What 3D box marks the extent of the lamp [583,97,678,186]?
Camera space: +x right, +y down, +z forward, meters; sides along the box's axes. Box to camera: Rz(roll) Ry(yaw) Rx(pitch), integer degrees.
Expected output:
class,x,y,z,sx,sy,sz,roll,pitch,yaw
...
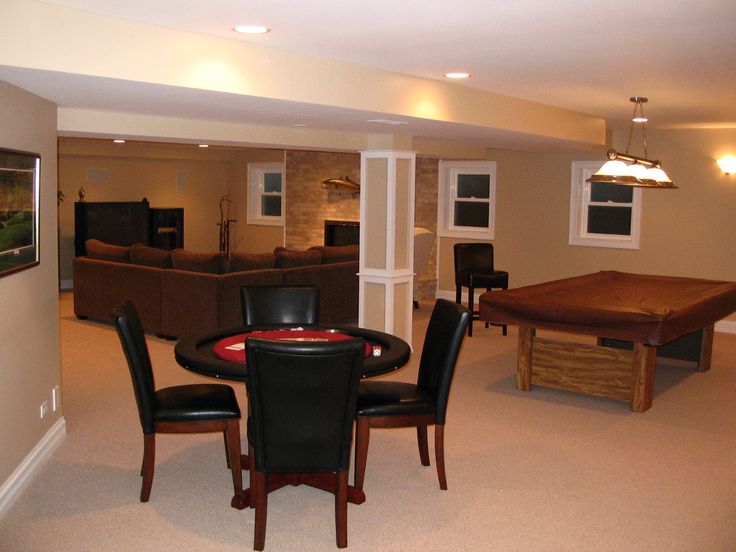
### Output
class,x,y,z,sx,sy,sz,roll,pitch,yaw
lamp,2.481,-1.233,5.261,0.378,0.728,0.913,-15,22,-16

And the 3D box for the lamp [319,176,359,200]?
class,x,y,z,sx,sy,sz,roll,pitch,yaw
lamp,-0.516,-1.551,9.933,0.805,0.371,0.437,4,11,14

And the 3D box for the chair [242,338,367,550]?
class,x,y,z,sx,sy,sz,roll,pitch,yaw
chair,-0.376,0.853,3.177,0.581,1.189,0.563,-1,12,-12

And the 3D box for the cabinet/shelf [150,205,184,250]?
class,x,y,z,sx,sy,sz,roll,pitch,yaw
cabinet/shelf,-4.081,-0.939,11.539,0.495,0.726,0.237,0,0,-24

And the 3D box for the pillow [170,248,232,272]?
class,x,y,z,sx,sy,sz,roll,pitch,yaw
pillow,-2.134,-0.199,7.186,0.704,0.226,0.647,2,9,3

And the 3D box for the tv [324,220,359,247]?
class,x,y,z,sx,sy,sz,roll,pitch,yaw
tv,-0.445,-0.749,10.007,0.722,0.590,0.229,2,2,35

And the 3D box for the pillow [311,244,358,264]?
class,x,y,z,sx,sy,sz,roll,pitch,yaw
pillow,-0.447,-0.287,7.677,0.430,0.138,0.403,-2,6,-20

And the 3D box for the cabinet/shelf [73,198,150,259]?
class,x,y,z,sx,sy,sz,roll,pitch,yaw
cabinet/shelf,-4.441,-0.811,9.752,1.472,1.114,0.471,0,2,-42

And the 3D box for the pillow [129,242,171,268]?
class,x,y,z,sx,sy,sz,roll,pitch,yaw
pillow,-2.753,-0.254,7.183,0.370,0.114,0.414,15,-3,-37

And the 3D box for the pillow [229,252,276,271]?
class,x,y,z,sx,sy,sz,roll,pitch,yaw
pillow,-1.378,-0.180,6.816,0.587,0.208,0.164,-6,13,-35
